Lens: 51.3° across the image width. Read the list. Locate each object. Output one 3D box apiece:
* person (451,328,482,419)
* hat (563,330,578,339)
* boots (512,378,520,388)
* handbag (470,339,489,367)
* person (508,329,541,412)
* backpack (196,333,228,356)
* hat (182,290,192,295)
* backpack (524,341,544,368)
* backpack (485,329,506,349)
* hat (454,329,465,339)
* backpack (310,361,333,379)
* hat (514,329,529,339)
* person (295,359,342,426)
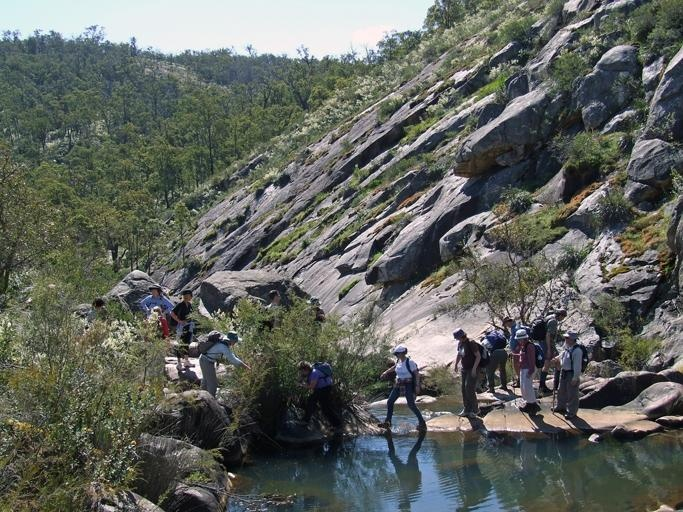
[{"bbox_3d":[3.250,2.966,18.123,0.671,2.228,0.549,-8,8,26],"label":"person"},{"bbox_3d":[5.748,1.997,17.929,0.329,0.215,0.281,20,-12,-11],"label":"hat"},{"bbox_3d":[4.799,3.548,19.673,0.163,0.277,0.214,-6,-17,17],"label":"boots"},{"bbox_3d":[3.569,2.529,18.259,0.565,0.712,0.459,-4,-1,11],"label":"handbag"},{"bbox_3d":[4.544,2.865,17.623,0.638,2.120,0.520,-9,7,15],"label":"person"},{"bbox_3d":[-3.211,2.190,17.344,0.576,0.258,0.450,-35,-8,7],"label":"backpack"},{"bbox_3d":[-4.120,0.973,18.787,0.208,0.082,0.238,-6,-1,12],"label":"hat"},{"bbox_3d":[4.828,2.454,17.635,0.540,0.690,0.444,-7,8,-5],"label":"backpack"},{"bbox_3d":[4.146,2.283,19.252,0.368,0.294,0.483,-8,27,-13],"label":"backpack"},{"bbox_3d":[2.986,2.012,18.207,0.165,0.289,0.163,-20,16,39],"label":"hat"},{"bbox_3d":[-0.481,2.922,18.170,0.384,0.490,0.316,-1,-5,-5],"label":"backpack"},{"bbox_3d":[4.410,1.957,17.568,0.278,0.298,0.398,-13,8,10],"label":"hat"},{"bbox_3d":[-0.644,3.542,18.286,0.902,1.975,0.819,-12,7,-3],"label":"person"}]
